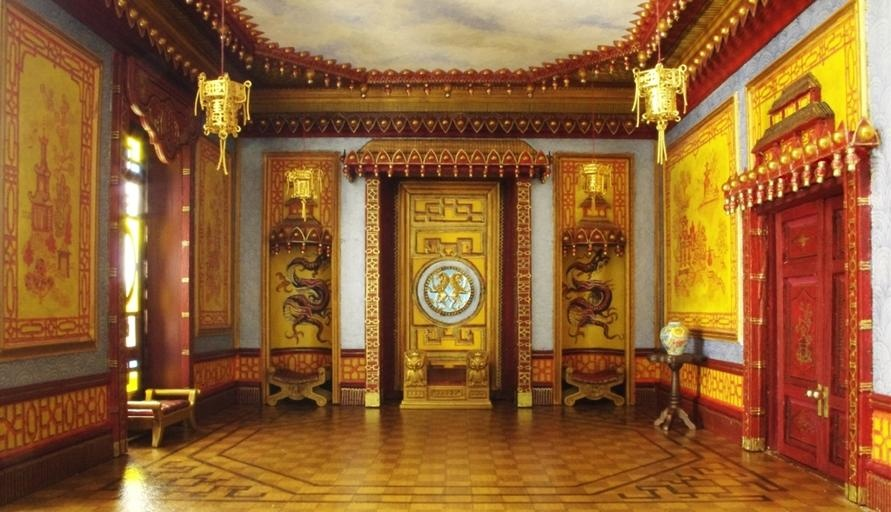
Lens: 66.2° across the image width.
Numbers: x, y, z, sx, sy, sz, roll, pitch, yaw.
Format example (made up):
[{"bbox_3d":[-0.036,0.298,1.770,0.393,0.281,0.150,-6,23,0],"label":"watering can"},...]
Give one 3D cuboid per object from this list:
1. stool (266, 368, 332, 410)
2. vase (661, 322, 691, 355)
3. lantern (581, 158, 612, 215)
[{"bbox_3d":[-2.645,2.324,12.220,1.121,0.697,0.461,0,8,1],"label":"stool"},{"bbox_3d":[3.684,1.334,10.955,0.422,0.513,0.562,2,8,17],"label":"vase"},{"bbox_3d":[2.679,-1.162,12.103,0.533,0.944,0.851,2,8,12],"label":"lantern"}]
